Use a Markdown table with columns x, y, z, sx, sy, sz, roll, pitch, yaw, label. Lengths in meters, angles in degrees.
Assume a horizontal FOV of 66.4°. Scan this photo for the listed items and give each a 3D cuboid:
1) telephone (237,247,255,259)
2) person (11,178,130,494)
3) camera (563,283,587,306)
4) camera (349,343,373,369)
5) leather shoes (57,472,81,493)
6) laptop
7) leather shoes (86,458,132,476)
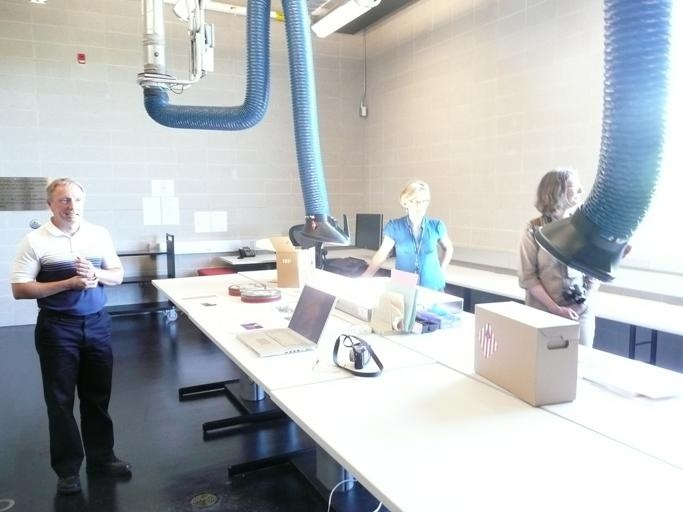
| x | y | z | sx | sy | sz | roll | pitch | yaw | label |
| --- | --- | --- | --- | --- | --- | --- | --- | --- | --- |
| -1.262 | -0.041 | 6.857 | 0.198 | 0.127 | 0.131 | -5 | 12 | -26 | telephone |
| -1.484 | 0.432 | 2.953 | 0.560 | 1.706 | 0.520 | -9 | 16 | -29 | person |
| 1.268 | 0.201 | 2.898 | 0.167 | 0.144 | 0.093 | -1 | 4 | -6 | camera |
| 0.083 | 0.442 | 2.335 | 0.095 | 0.110 | 0.151 | -1 | 3 | 7 | camera |
| -1.495 | 1.257 | 2.869 | 0.075 | 0.091 | 0.141 | 2 | 5 | -12 | leather shoes |
| -0.288 | 0.347 | 2.698 | 0.386 | 0.231 | 0.394 | 0 | 6 | -27 | laptop |
| -1.352 | 1.243 | 3.034 | 0.237 | 0.099 | 0.102 | 1 | 4 | -6 | leather shoes |
